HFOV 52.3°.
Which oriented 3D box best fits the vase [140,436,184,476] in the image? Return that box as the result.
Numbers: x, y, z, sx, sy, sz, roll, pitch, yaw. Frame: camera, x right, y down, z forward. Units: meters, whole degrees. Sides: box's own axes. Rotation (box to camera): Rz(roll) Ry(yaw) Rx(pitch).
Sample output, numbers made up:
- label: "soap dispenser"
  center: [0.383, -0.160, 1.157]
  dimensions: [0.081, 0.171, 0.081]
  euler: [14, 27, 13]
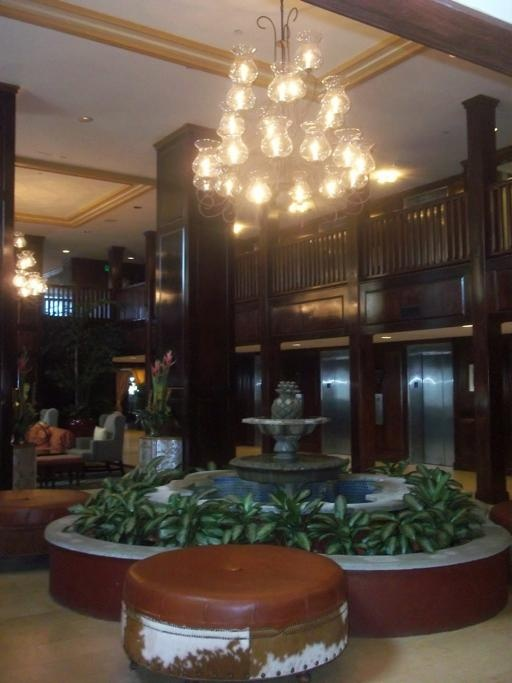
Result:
- label: "vase"
  center: [-1.207, 1.427, 6.620]
  dimensions: [0.526, 0.421, 0.355]
  euler: [-1, -3, -12]

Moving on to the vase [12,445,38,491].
- label: "vase"
  center: [-2.679, 1.447, 5.983]
  dimensions: [0.151, 0.512, 0.321]
  euler: [-4, -4, 33]

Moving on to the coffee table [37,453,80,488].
- label: "coffee table"
  center: [-3.135, 2.061, 8.325]
  dimensions: [0.659, 0.600, 1.263]
  euler: [0, -3, -23]
